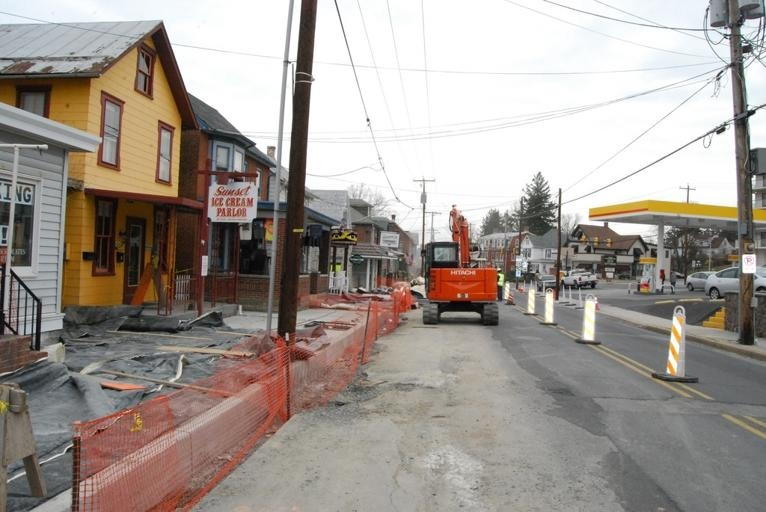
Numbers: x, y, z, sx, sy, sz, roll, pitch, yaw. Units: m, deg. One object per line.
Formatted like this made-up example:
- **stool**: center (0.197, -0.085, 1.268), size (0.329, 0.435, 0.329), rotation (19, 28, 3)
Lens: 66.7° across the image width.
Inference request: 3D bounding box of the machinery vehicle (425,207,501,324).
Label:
- **machinery vehicle**: center (3.318, 0.241, 24.858), size (2.872, 4.503, 5.208), rotation (-1, 4, 3)
